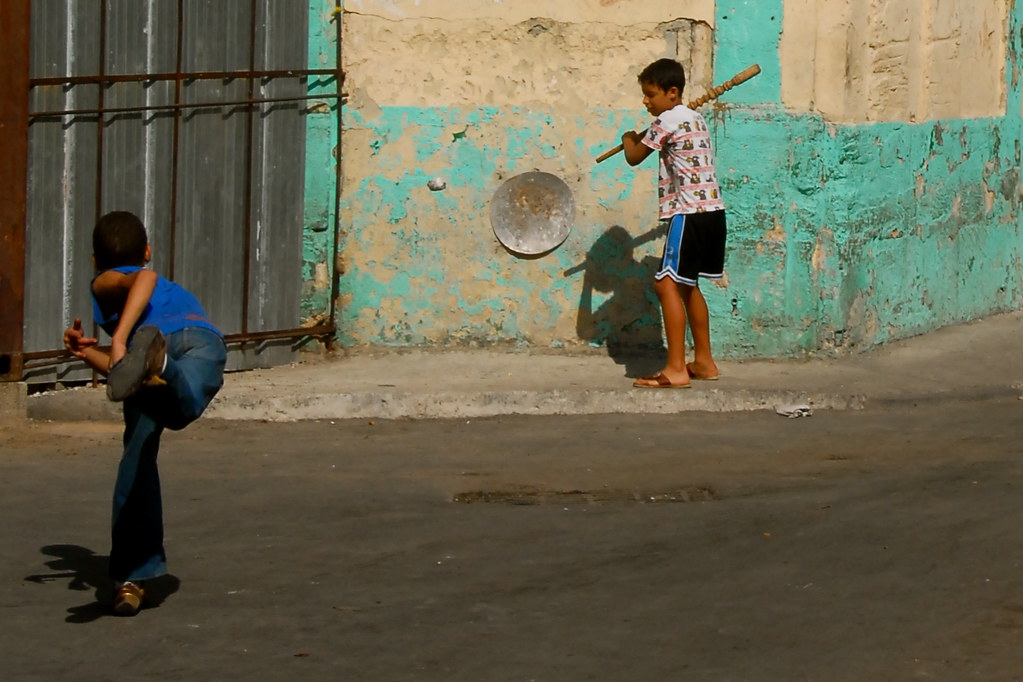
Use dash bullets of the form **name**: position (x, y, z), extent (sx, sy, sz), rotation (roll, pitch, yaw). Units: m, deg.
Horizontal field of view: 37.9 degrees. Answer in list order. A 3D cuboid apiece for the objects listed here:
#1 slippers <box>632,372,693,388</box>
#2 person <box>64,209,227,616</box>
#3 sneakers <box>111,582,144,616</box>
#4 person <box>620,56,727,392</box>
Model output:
- **slippers**: position (1.023, 0.284, 10.213), extent (0.365, 0.077, 0.136), rotation (2, -4, -4)
- **person**: position (-1.793, 0.342, 7.369), extent (0.753, 1.970, 0.807), rotation (-3, 4, -30)
- **sneakers**: position (-1.873, 1.267, 7.278), extent (0.126, 0.136, 0.336), rotation (1, -9, -11)
- **person**: position (1.133, -0.820, 10.293), extent (0.709, 2.260, 0.461), rotation (0, 4, 0)
